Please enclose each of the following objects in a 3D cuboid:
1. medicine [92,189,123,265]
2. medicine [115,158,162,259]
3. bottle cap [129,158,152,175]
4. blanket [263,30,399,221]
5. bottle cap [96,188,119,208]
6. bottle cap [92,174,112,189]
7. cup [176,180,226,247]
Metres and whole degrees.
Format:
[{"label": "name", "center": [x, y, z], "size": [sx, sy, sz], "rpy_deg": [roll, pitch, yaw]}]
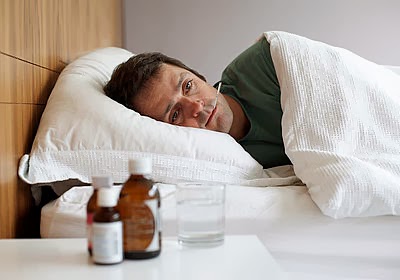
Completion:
[{"label": "medicine", "center": [-0.196, 0.179, 0.731], "size": [0.062, 0.157, 0.064], "rpy_deg": [-2, 3, -11]}, {"label": "medicine", "center": [-0.133, 0.150, 0.776], "size": [0.093, 0.226, 0.094], "rpy_deg": [-3, 2, -44]}, {"label": "bottle cap", "center": [-0.128, 0.055, 0.735], "size": [0.036, 0.023, 0.037], "rpy_deg": [0, -2, -5]}, {"label": "blanket", "center": [0.549, -0.107, 1.220], "size": [0.532, 0.576, 0.612], "rpy_deg": [-1, 13, -1]}, {"label": "bottle cap", "center": [-0.203, 0.120, 0.734], "size": [0.037, 0.028, 0.038], "rpy_deg": [0, -1, -6]}, {"label": "bottle cap", "center": [-0.218, 0.090, 0.766], "size": [0.031, 0.020, 0.031], "rpy_deg": [-3, -2, 26]}, {"label": "cup", "center": [0.002, 0.178, 0.875], "size": [0.130, 0.151, 0.133], "rpy_deg": [-1, 1, 0]}]
